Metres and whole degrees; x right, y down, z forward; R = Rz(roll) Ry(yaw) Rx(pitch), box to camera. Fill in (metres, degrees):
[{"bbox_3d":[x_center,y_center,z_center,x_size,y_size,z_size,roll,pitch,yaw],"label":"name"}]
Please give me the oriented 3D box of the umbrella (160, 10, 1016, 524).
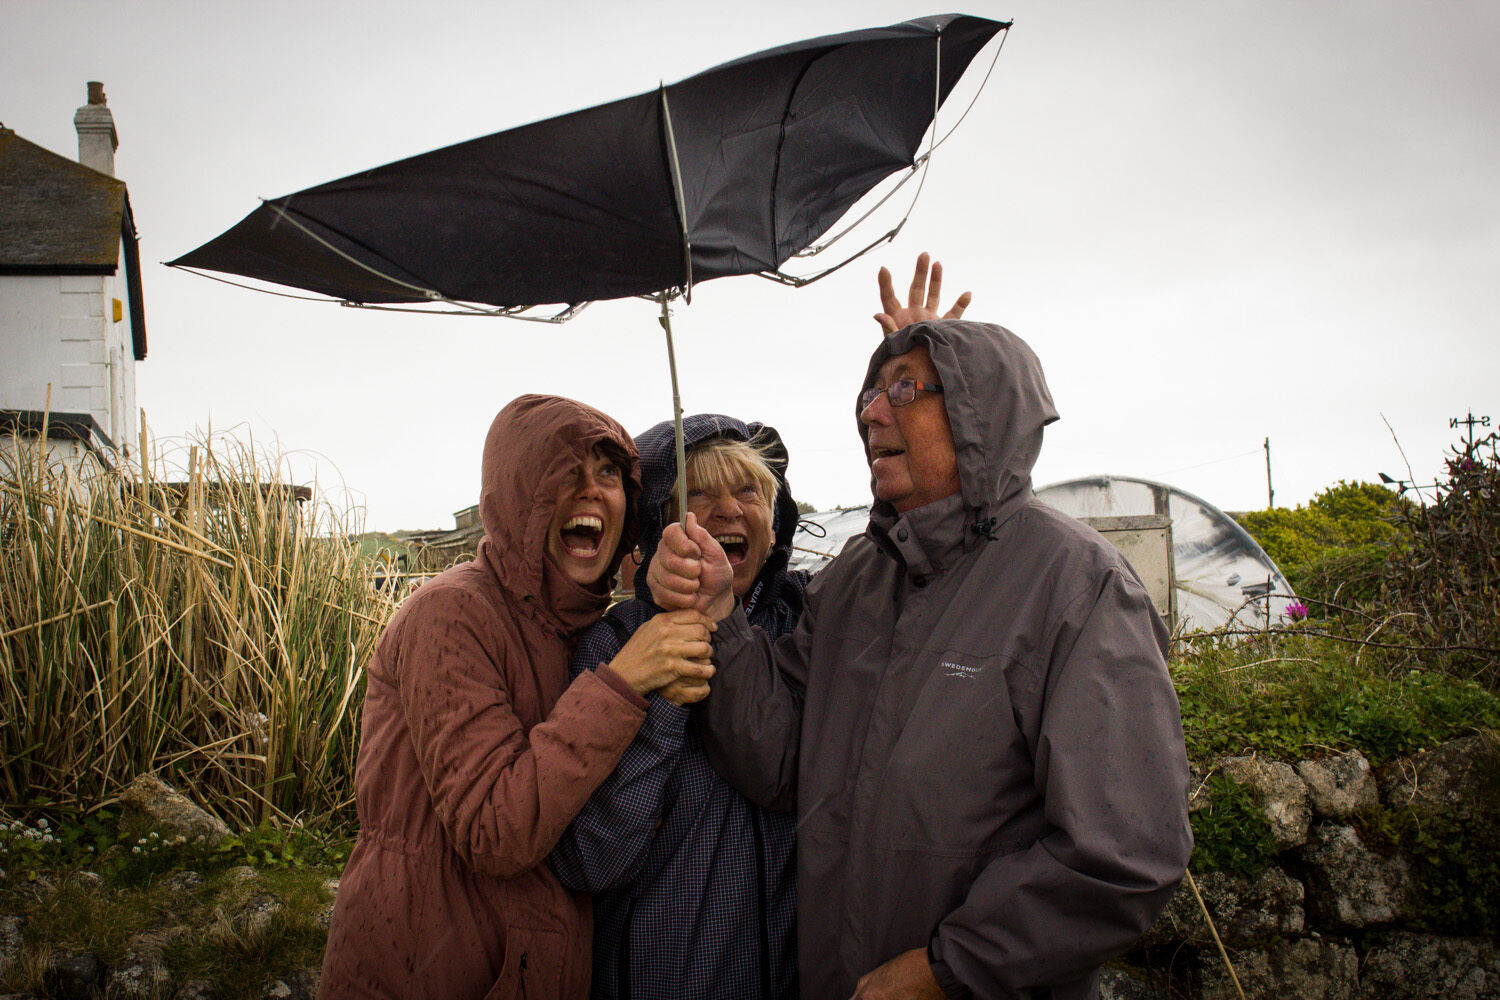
[{"bbox_3d":[-0.288,-1.233,4.385,2.157,1.557,2.164,-23,-1,19],"label":"umbrella"}]
